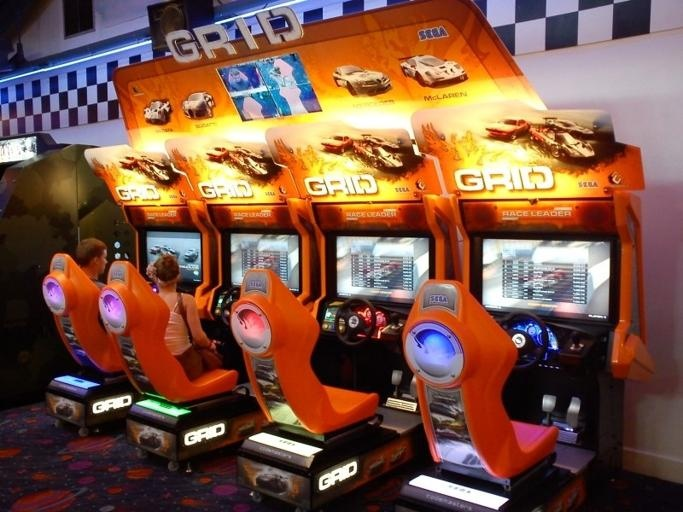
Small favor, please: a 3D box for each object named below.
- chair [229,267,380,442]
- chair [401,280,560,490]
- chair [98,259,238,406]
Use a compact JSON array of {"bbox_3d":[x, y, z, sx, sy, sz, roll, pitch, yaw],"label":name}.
[{"bbox_3d":[-0.246,0.632,2.962,0.930,0.983,0.675,1,-3,-41],"label":"chair"},{"bbox_3d":[0.689,0.622,2.332,0.742,0.931,0.646,4,-7,-41],"label":"chair"},{"bbox_3d":[-1.314,0.566,3.557,0.704,1.051,1.005,-1,-5,42],"label":"chair"}]
